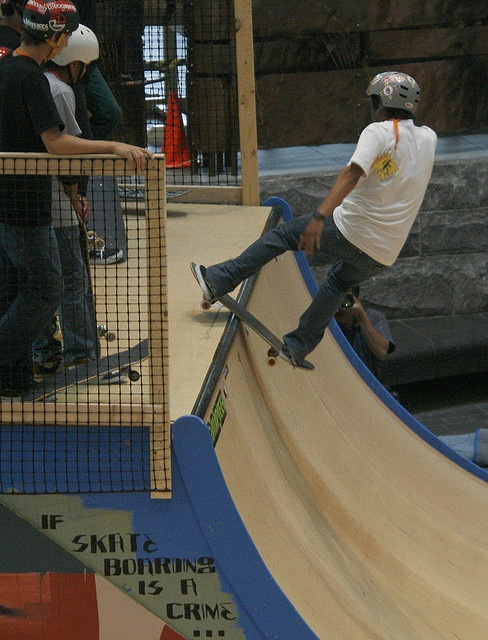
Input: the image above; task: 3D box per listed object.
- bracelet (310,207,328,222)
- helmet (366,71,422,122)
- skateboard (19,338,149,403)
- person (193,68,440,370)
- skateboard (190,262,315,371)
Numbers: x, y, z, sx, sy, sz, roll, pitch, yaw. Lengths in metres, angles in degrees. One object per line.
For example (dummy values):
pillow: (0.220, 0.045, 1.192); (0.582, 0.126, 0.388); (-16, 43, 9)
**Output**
bracelet: (0.337, -0.464, 4.855); (0.077, 0.044, 0.076); (10, 24, 3)
helmet: (0.700, -1.042, 5.082); (0.217, 0.241, 0.276); (-9, 14, -40)
skateboard: (-0.645, 0.215, 4.430); (0.392, 0.064, 0.090); (-27, 26, -21)
person: (0.426, -0.512, 5.366); (1.051, 1.412, 0.991); (21, 5, 38)
skateboard: (0.026, -0.002, 5.268); (0.768, 0.108, 0.179); (39, 20, -11)
